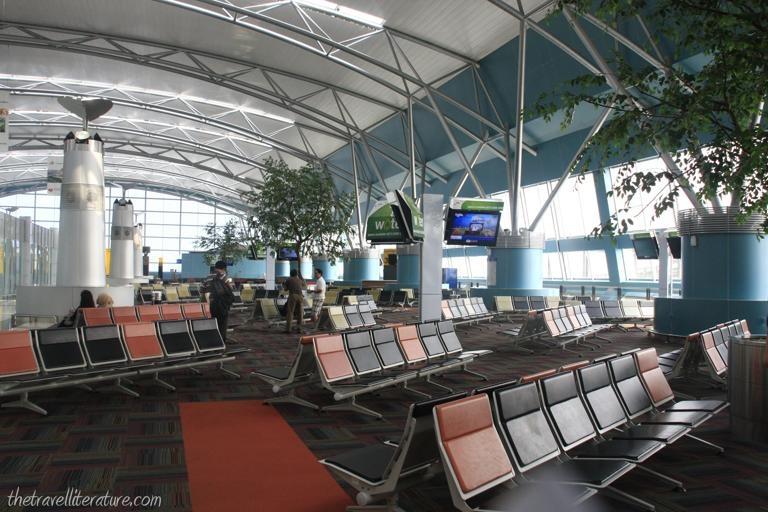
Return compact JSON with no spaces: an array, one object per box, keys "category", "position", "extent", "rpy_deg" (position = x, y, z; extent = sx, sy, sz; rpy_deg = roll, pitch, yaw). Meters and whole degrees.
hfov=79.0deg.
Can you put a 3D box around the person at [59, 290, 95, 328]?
[{"category":"person","position":[-6.025,1.072,9.335],"extent":[0.421,0.807,1.205],"rpy_deg":[21,-25,-36]}]

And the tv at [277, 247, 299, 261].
[{"category":"tv","position":[-4.523,-0.103,21.807],"extent":[0.976,0.449,0.647],"rpy_deg":[2,14,9]}]

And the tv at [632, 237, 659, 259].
[{"category":"tv","position":[10.628,-0.350,18.861],"extent":[0.866,0.918,0.499],"rpy_deg":[-4,-2,32]}]

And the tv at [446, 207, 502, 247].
[{"category":"tv","position":[3.136,-1.041,16.646],"extent":[2.390,1.318,0.259],"rpy_deg":[-2,16,-30]}]

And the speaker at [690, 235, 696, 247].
[{"category":"speaker","position":[8.797,-0.428,13.238],"extent":[0.072,0.336,0.230],"rpy_deg":[-3,-2,-9]}]
